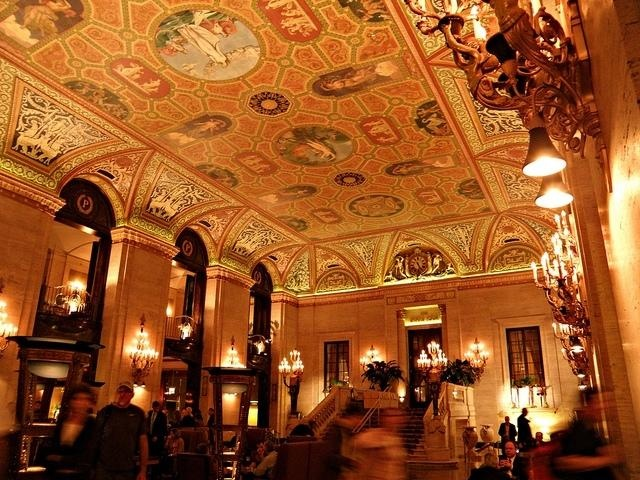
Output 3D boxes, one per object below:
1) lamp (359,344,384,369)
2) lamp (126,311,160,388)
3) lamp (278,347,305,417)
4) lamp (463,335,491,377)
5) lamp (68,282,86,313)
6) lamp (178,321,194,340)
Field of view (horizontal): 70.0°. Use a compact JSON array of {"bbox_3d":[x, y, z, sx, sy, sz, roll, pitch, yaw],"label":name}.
[{"bbox_3d":[1.972,4.650,18.226,1.049,0.914,0.626,-10,-27,23],"label":"lamp"},{"bbox_3d":[-4.943,3.115,12.834,0.355,1.957,0.916,-5,-25,14],"label":"lamp"},{"bbox_3d":[-1.113,5.678,18.495,0.930,2.763,1.799,-4,-25,12],"label":"lamp"},{"bbox_3d":[5.757,4.235,16.526,0.982,1.712,0.428,-23,-54,37],"label":"lamp"},{"bbox_3d":[-6.990,1.665,13.067,0.442,0.784,0.419,-6,-16,-8],"label":"lamp"},{"bbox_3d":[-4.482,3.053,15.363,0.563,0.729,0.534,4,-13,-8],"label":"lamp"}]
